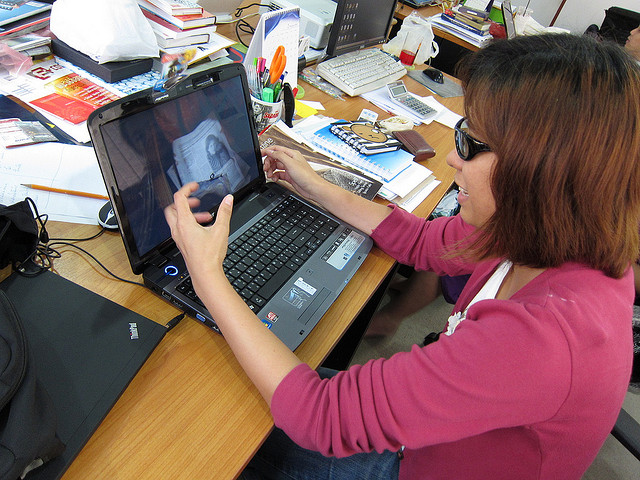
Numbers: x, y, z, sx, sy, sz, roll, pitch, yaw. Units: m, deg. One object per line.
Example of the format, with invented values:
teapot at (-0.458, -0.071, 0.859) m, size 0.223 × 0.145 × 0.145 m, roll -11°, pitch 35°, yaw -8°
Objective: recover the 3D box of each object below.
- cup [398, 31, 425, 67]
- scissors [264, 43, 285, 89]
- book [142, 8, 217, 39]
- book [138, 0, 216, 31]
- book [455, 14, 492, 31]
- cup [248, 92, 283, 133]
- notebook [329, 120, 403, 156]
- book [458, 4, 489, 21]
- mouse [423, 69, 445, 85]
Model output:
cup at (0.464, -0.948, 2.040) m, size 0.103 × 0.190 × 0.112 m, roll -8°, pitch 21°, yaw 3°
scissors at (-0.127, -0.511, 1.224) m, size 0.009 × 0.130 × 0.064 m, roll 5°, pitch 35°, yaw -37°
book at (-0.500, -0.749, 1.412) m, size 0.132 × 0.028 × 0.134 m, roll -14°, pitch 44°, yaw -41°
book at (-0.519, -0.783, 1.426) m, size 0.140 × 0.031 × 0.144 m, roll 29°, pitch 32°, yaw 20°
book at (0.992, -1.411, 2.655) m, size 0.138 × 0.034 × 0.140 m, roll 34°, pitch 43°, yaw 26°
cup at (-0.168, -0.396, 1.251) m, size 0.105 × 0.093 × 0.123 m, roll 0°, pitch 36°, yaw -19°
notebook at (0.150, -0.348, 1.407) m, size 0.152 × 0.049 × 0.178 m, roll -19°, pitch 41°, yaw -38°
book at (0.994, -1.475, 2.652) m, size 0.131 × 0.033 × 0.134 m, roll 27°, pitch 35°, yaw 18°
mouse at (0.548, -0.800, 1.988) m, size 0.061 × 0.033 × 0.098 m, roll -33°, pitch 57°, yaw -29°
